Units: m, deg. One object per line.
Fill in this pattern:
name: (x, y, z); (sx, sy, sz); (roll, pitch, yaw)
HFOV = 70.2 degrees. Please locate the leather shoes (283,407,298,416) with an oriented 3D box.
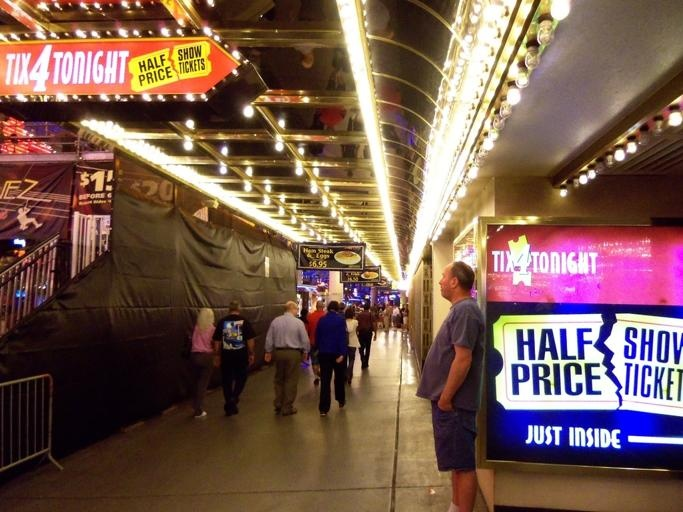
leather shoes: (-1.003, 3.085, 9.672); (0.145, 0.148, 0.378); (-3, -5, 33)

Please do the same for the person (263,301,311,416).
person: (-1.124, 2.075, 9.989); (0.879, 2.224, 0.749); (0, -4, -9)

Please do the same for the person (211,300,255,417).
person: (-2.192, 2.071, 9.927); (0.814, 2.208, 0.723); (0, -4, -11)

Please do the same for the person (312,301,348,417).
person: (-0.231, 2.082, 10.162); (0.642, 2.226, 1.174); (0, -4, -2)

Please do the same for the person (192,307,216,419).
person: (-2.691, 2.083, 9.405); (0.428, 2.062, 0.309); (1, -5, -19)
